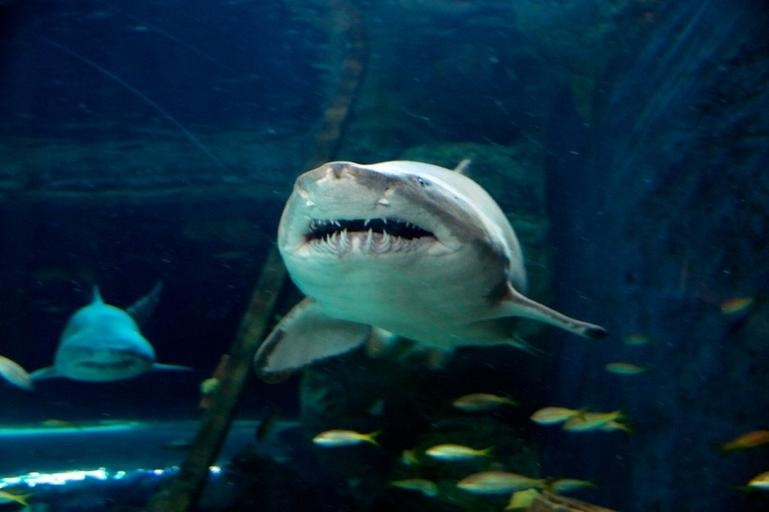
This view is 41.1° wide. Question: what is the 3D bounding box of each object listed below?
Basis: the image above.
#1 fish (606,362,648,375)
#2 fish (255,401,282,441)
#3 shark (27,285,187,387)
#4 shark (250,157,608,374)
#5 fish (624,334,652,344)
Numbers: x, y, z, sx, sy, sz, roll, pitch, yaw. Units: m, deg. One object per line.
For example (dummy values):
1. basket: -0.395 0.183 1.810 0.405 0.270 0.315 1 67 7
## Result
1. fish: 3.665 1.753 15.771 0.826 0.222 0.204 4 21 -22
2. fish: -1.816 2.612 16.021 0.278 0.555 0.431 -16 -20 30
3. shark: -4.978 1.330 18.697 2.780 1.980 2.717 -1 -15 -9
4. shark: -0.314 0.079 15.459 3.637 3.416 6.250 -6 18 -14
5. fish: 3.987 1.307 16.195 0.369 0.168 0.463 -7 -14 15
